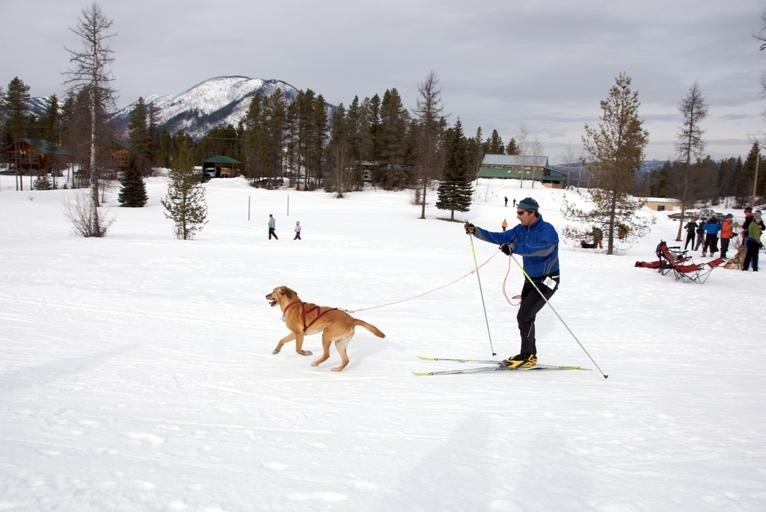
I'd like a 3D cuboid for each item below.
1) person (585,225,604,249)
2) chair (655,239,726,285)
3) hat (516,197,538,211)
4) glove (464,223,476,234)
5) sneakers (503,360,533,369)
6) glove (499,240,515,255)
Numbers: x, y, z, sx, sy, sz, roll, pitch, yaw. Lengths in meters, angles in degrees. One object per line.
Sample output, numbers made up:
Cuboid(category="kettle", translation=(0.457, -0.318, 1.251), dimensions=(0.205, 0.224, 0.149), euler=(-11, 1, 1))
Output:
Cuboid(category="person", translation=(10.513, -0.843, 34.712), dimensions=(0.581, 1.283, 2.366), euler=(6, 12, 18))
Cuboid(category="chair", translation=(9.965, 0.153, 23.296), dimensions=(1.778, 1.090, 2.107), euler=(6, 12, 20))
Cuboid(category="hat", translation=(3.147, -1.123, 15.477), dimensions=(0.414, 0.258, 0.290), euler=(1, 2, -30))
Cuboid(category="glove", translation=(1.915, -0.586, 15.557), dimensions=(0.222, 0.283, 0.101), euler=(-7, -29, -39))
Cuboid(category="sneakers", translation=(3.015, 2.397, 15.720), dimensions=(0.687, 0.270, 0.223), euler=(1, -6, -1))
Cuboid(category="glove", translation=(2.713, -0.160, 15.368), dimensions=(0.256, 0.306, 0.179), euler=(10, 14, 10))
